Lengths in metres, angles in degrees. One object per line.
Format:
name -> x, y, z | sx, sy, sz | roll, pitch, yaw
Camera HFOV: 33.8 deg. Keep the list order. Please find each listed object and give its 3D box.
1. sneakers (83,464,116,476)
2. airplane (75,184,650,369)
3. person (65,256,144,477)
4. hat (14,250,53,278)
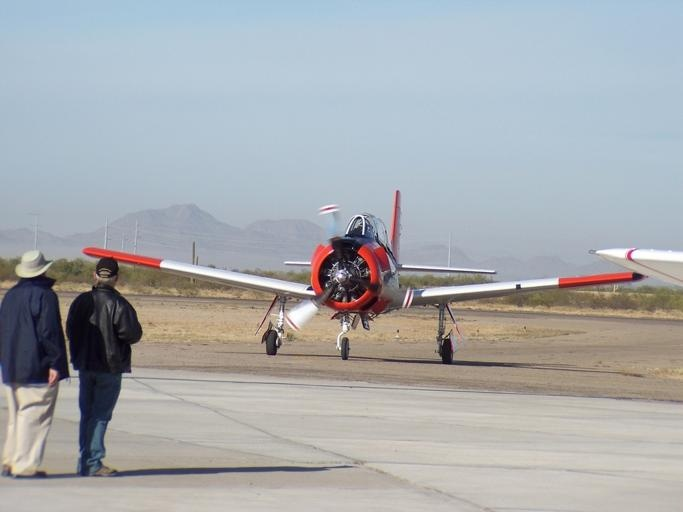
sneakers -> -2.680, 2.374, 12.462 | 0.382, 0.136, 0.131 | -1, -4, 0
airplane -> 0.377, 0.446, 23.717 | 6.964, 3.370, 7.347 | 0, 3, -39
person -> -2.685, 1.243, 12.640 | 0.833, 2.383, 0.626 | 2, 2, -11
hat -> -3.471, 0.080, 12.714 | 0.357, 0.130, 0.363 | 0, 32, 9
